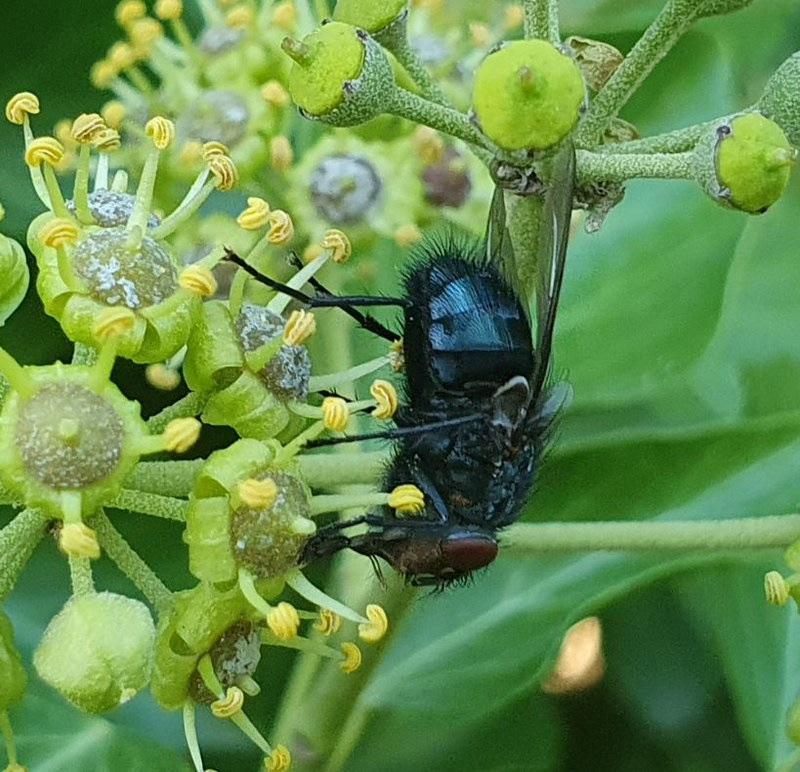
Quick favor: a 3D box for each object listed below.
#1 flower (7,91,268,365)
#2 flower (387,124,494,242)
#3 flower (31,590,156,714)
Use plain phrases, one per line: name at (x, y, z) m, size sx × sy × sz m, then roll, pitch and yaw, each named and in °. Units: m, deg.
flower at (-0.339, -0.144, 1.272) m, size 0.295 × 0.315 × 0.154 m, roll 3°, pitch -40°, yaw -31°
flower at (0.059, -0.268, 1.487) m, size 0.212 × 0.156 × 0.058 m, roll 5°, pitch -11°, yaw 11°
flower at (-0.305, 0.273, 1.105) m, size 0.116 × 0.125 × 0.063 m, roll 1°, pitch 9°, yaw -15°
